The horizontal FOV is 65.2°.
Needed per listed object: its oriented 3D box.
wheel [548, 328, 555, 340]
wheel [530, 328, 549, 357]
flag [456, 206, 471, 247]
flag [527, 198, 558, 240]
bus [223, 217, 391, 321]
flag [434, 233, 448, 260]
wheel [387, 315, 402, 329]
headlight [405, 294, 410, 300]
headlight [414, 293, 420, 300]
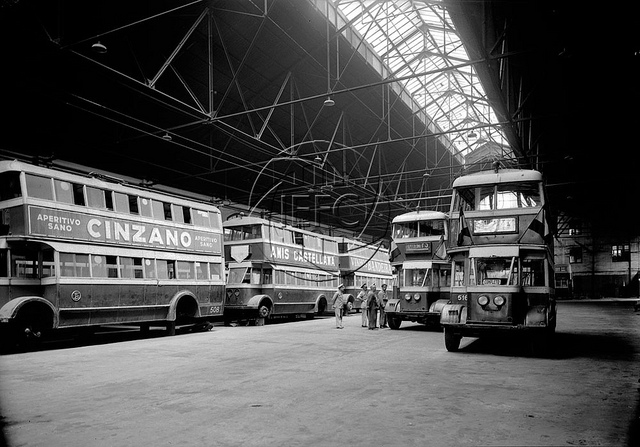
[{"bbox_3d":[8.760,4.182,18.959,0.136,0.381,1.719,-3,-11,28],"label":"wheel"},{"bbox_3d":[7.501,4.028,17.194,0.576,0.922,2.385,-3,-10,24],"label":"wheel"},{"bbox_3d":[5.059,0.138,17.727,0.524,1.339,0.182,-4,-8,34],"label":"flag"},{"bbox_3d":[7.667,-0.210,17.273,0.496,1.287,0.314,7,-37,33],"label":"flag"},{"bbox_3d":[-1.960,2.903,31.786,2.261,4.246,14.247,4,-6,21],"label":"bus"},{"bbox_3d":[5.807,1.072,24.002,0.719,1.292,0.251,5,-8,-32],"label":"flag"},{"bbox_3d":[3.634,4.822,24.594,0.645,0.666,0.912,-1,-9,8],"label":"wheel"},{"bbox_3d":[4.130,3.466,23.738,0.173,0.218,0.193,2,-1,11],"label":"headlight"},{"bbox_3d":[4.528,3.428,23.543,0.184,0.237,0.210,2,-4,9],"label":"headlight"}]
